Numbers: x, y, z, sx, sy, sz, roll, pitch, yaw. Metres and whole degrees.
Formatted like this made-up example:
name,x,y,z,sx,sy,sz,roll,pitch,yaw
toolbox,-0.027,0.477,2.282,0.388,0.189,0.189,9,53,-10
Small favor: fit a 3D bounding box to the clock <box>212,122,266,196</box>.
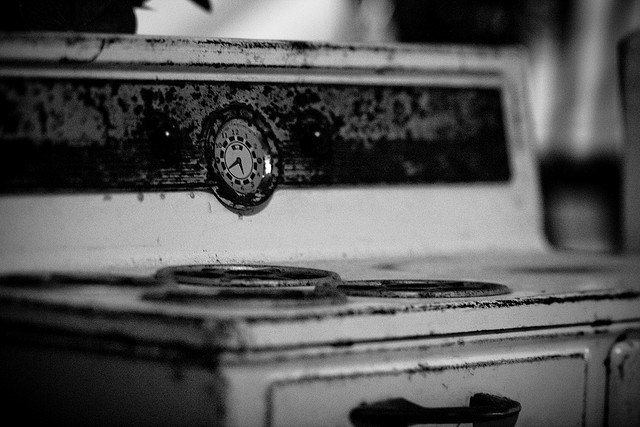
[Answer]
name,x,y,z,sx,sy,sz,roll,pitch,yaw
clock,-0.203,-0.131,1.876,0.152,0.218,0.021,0,-2,-33
